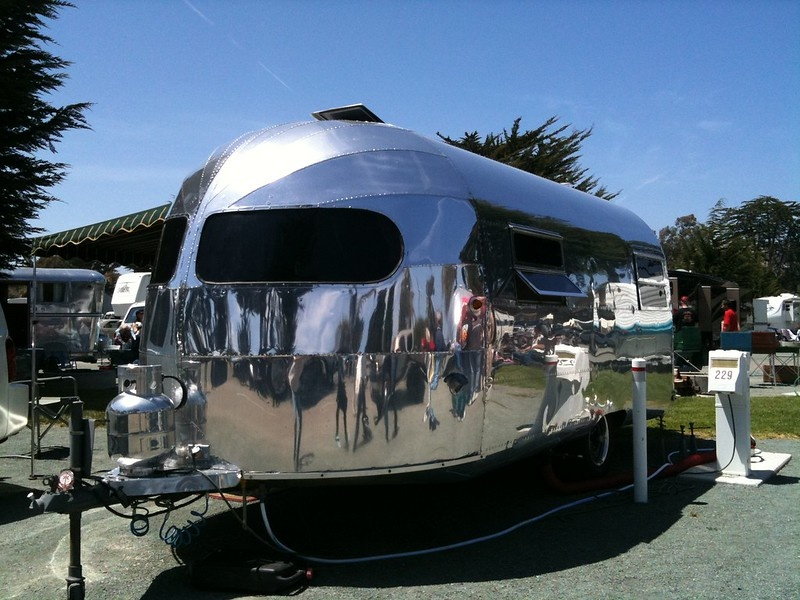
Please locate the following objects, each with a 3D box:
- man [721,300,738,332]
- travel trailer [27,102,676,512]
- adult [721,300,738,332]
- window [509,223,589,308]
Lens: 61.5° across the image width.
[{"bbox_3d":[8.073,0.397,16.581,0.352,0.992,0.822,0,1,35],"label":"man"},{"bbox_3d":[0.105,0.151,6.538,2.970,2.813,5.608,0,0,40],"label":"travel trailer"},{"bbox_3d":[8.073,0.397,16.581,0.352,0.992,0.822,0,1,35],"label":"adult"},{"bbox_3d":[1.314,-0.300,6.030,0.284,0.694,0.931,-10,-8,40],"label":"window"}]
